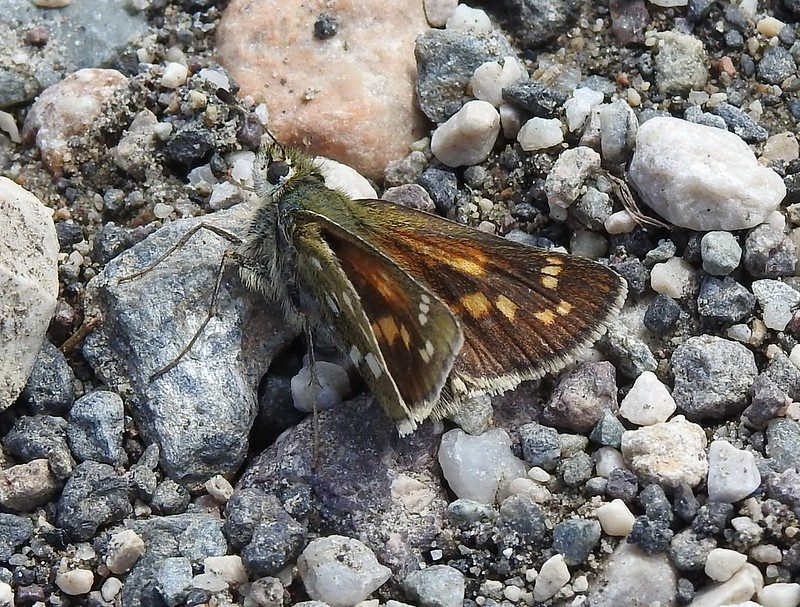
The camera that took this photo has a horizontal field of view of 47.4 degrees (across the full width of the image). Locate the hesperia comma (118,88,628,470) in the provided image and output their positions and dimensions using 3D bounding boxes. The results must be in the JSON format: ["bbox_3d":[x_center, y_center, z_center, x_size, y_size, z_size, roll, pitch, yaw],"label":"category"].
[{"bbox_3d":[0.025,-0.020,4.747,2.119,1.009,1.122,21,86,3],"label":"hesperia comma"}]
